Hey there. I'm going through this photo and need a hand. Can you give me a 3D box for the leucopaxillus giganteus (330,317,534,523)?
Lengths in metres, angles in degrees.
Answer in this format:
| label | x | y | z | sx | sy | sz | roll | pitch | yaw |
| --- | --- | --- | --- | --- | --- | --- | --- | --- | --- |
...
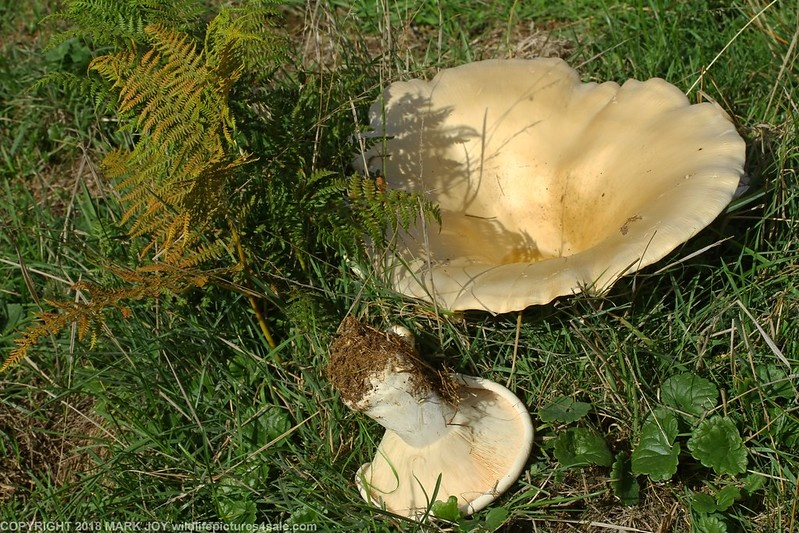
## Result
| label | x | y | z | sx | sy | sz | roll | pitch | yaw |
| --- | --- | --- | --- | --- | --- | --- | --- | --- | --- |
| leucopaxillus giganteus | 0.159 | 0.855 | 4.322 | 0.618 | 0.687 | 0.617 | -39 | 50 | 10 |
